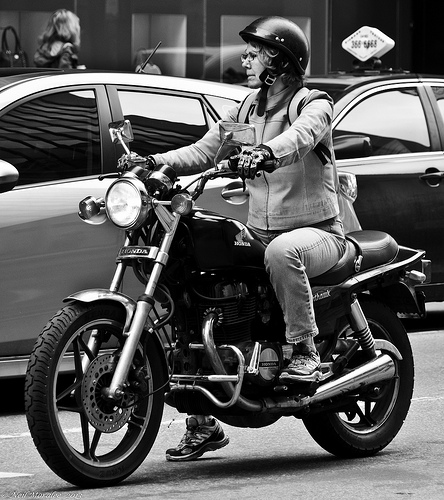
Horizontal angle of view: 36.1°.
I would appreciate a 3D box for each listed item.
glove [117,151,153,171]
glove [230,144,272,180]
[{"bbox_3d":[-0.334,-0.358,2.641,0.108,0.082,0.079,7,11,10],"label":"glove"},{"bbox_3d":[0.107,-0.329,2.347,0.116,0.054,0.118,-36,20,-25],"label":"glove"}]
